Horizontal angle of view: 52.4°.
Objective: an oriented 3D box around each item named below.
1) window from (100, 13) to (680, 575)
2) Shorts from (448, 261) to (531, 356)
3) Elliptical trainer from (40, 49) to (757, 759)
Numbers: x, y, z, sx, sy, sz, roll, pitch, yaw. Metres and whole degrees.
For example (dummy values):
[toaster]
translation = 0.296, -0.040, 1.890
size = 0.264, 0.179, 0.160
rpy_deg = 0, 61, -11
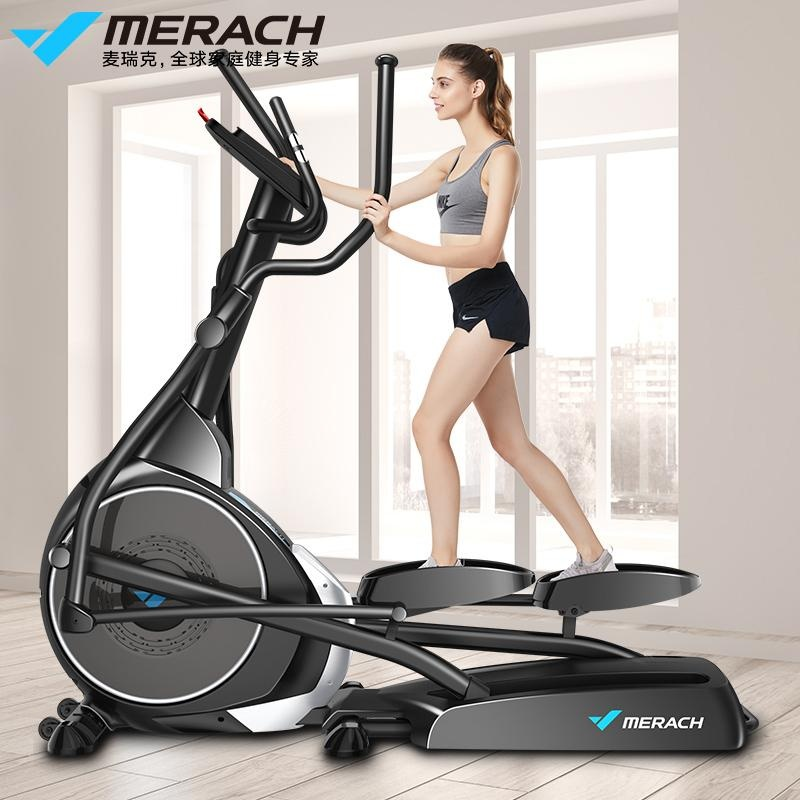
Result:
[window]
translation = 0.094, -0.452, 3.270
size = 2.938, 1.819, 0.057
rpy_deg = -1, -3, 16
[Shorts]
translation = 0.209, -0.211, 1.881
size = 0.189, 0.209, 0.305
rpy_deg = 0, -9, -8
[Elliptical trainer]
translation = -0.081, 0.049, 1.689
size = 1.305, 1.339, 0.593
rpy_deg = 0, -5, -12
